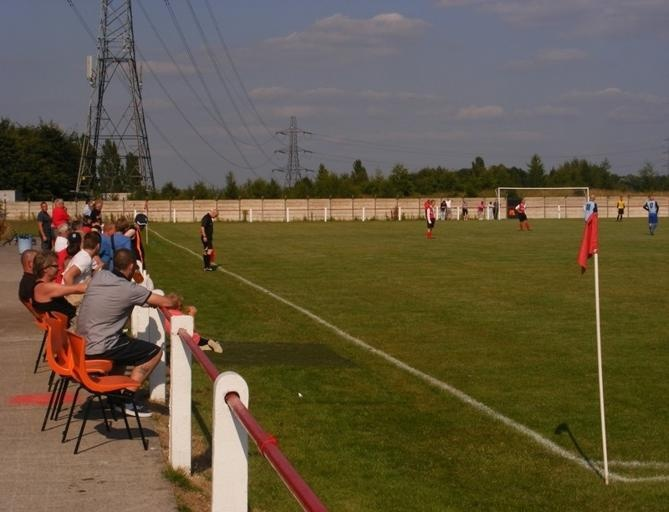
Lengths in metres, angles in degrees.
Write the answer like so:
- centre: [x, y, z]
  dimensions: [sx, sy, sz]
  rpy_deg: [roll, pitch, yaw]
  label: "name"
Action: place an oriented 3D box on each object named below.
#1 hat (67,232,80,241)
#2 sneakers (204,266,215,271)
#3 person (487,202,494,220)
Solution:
- centre: [-4.648, -0.353, 13.824]
  dimensions: [0.257, 0.152, 0.396]
  rpy_deg: [-1, 11, -12]
  label: "hat"
- centre: [-3.895, 0.396, 24.187]
  dimensions: [0.323, 0.155, 0.124]
  rpy_deg: [-7, 4, 13]
  label: "sneakers"
- centre: [13.773, -4.048, 68.259]
  dimensions: [0.739, 1.424, 3.923]
  rpy_deg: [2, 8, 11]
  label: "person"
